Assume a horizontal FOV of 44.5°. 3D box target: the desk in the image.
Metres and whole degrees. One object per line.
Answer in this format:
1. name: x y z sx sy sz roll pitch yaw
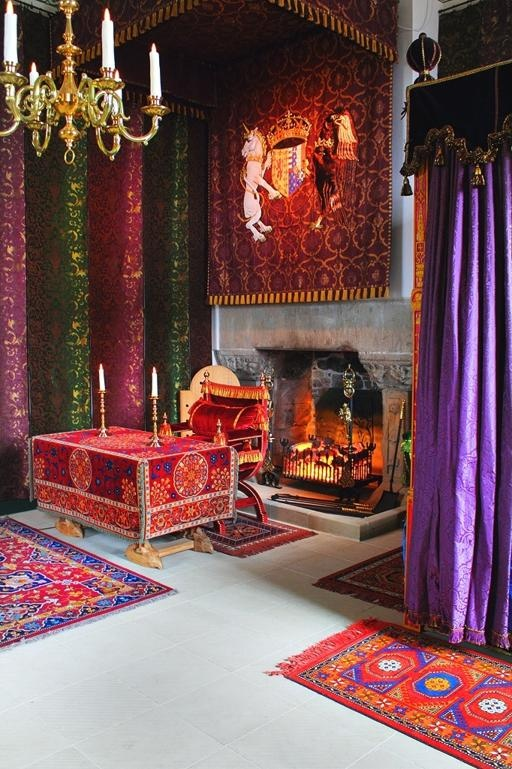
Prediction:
1. desk: -0.686 0.507 4.367 1.399 0.726 0.835 3 4 44

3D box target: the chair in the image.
1. chair: -0.358 0.533 5.184 0.787 1.180 0.686 6 5 42

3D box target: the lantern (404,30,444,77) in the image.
1. lantern: 0.939 -1.796 3.444 0.160 0.256 0.278 0 1 4
